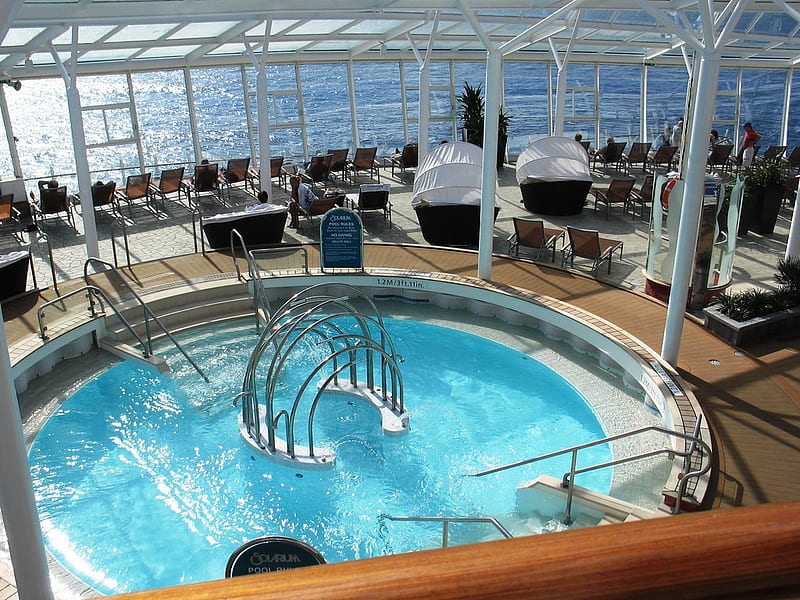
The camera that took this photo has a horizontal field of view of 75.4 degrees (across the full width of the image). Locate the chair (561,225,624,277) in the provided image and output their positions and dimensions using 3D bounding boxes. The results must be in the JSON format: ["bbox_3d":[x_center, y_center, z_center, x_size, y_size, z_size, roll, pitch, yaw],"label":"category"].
[{"bbox_3d":[4.471,-1.207,12.689,1.220,1.112,1.886,13,32,34],"label":"chair"}]

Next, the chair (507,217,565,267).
[{"bbox_3d":[3.390,-1.640,13.465,1.244,1.131,1.571,11,39,28],"label":"chair"}]
